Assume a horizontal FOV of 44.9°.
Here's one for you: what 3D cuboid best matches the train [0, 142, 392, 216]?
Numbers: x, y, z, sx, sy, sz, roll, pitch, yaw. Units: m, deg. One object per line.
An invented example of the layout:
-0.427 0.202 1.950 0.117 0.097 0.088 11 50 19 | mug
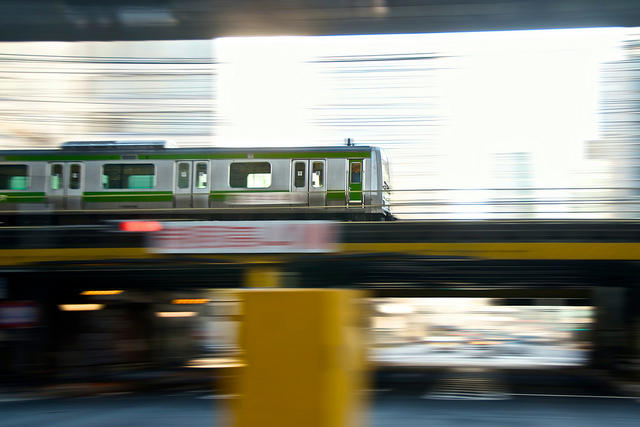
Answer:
-3.427 -0.953 21.617 10.443 2.108 0.957 0 5 6 | train
